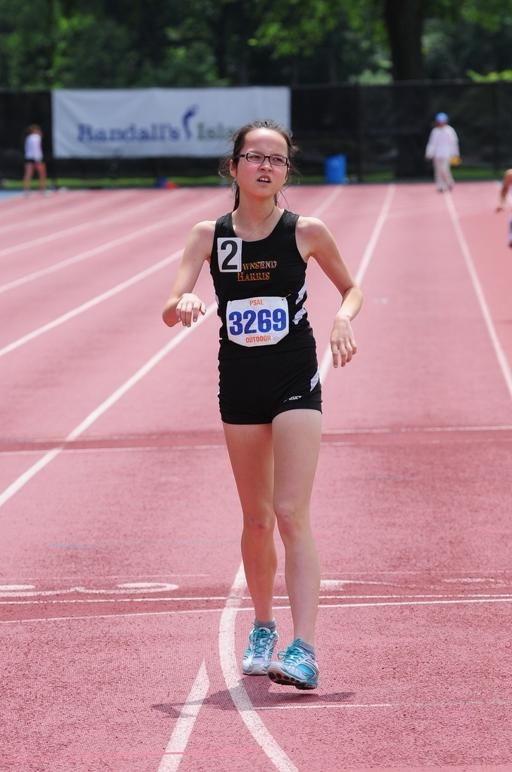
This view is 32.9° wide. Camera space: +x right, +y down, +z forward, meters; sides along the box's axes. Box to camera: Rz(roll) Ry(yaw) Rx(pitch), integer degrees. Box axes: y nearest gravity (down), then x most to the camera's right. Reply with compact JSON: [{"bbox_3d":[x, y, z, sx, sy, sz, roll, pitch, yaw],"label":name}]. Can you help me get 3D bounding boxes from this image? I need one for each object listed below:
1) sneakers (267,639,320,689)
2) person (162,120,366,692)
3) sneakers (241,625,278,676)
[{"bbox_3d":[0.123,0.729,2.259,0.076,0.097,0.201,2,-21,22],"label":"sneakers"},{"bbox_3d":[0.028,0.047,2.440,0.536,1.625,0.441,-3,-2,22],"label":"person"},{"bbox_3d":[0.020,0.786,2.598,0.074,0.082,0.181,4,44,9],"label":"sneakers"}]
